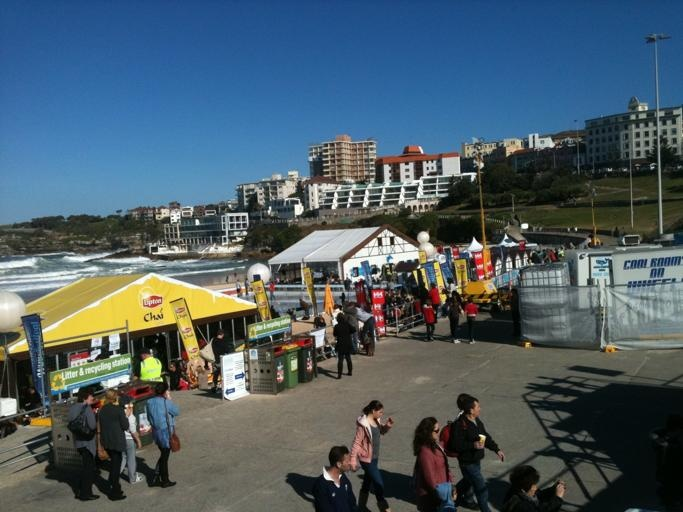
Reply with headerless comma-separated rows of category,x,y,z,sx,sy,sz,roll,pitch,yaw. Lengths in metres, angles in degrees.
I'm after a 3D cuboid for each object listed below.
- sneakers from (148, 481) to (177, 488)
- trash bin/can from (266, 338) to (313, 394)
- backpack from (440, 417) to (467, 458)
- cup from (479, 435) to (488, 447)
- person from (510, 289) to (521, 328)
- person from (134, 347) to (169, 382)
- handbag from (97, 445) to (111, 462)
sneakers,-3.300,4.195,10.217,0.390,0.158,0.123,-7,1,7
trash bin/can,-1.427,2.999,15.081,0.531,1.010,1.406,-4,-2,27
backpack,1.870,2.779,8.514,0.571,0.580,0.426,-3,-7,25
cup,2.116,2.748,8.303,0.160,0.159,0.156,-1,-4,0
person,6.123,1.868,19.477,0.215,1.491,0.792,-4,3,12
person,-4.887,2.772,14.072,0.472,0.690,0.694,-6,3,-13
handbag,-4.272,3.525,9.928,0.253,0.233,0.181,-3,4,39
